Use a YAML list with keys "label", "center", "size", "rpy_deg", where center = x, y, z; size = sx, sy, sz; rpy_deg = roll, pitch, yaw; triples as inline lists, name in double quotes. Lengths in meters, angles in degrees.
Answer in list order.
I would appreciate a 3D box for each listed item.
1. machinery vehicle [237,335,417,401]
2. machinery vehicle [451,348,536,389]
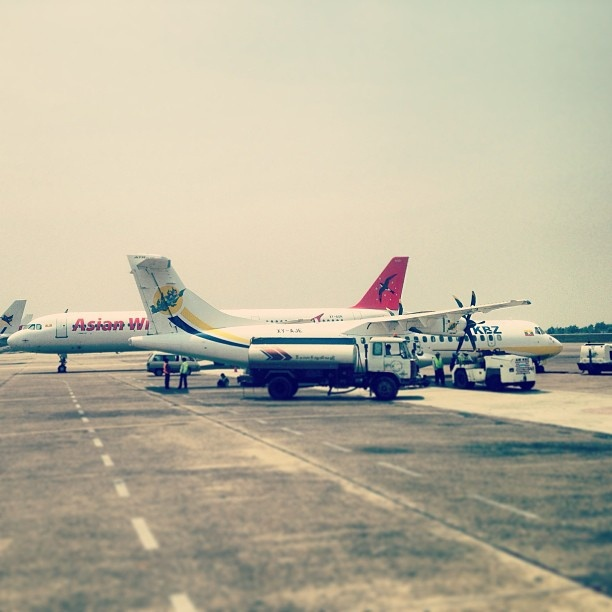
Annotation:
- label: "machinery vehicle"
  center: [1.131, 2.888, 29.260]
  size: [7.433, 2.834, 1.162]
  rpy_deg: [-1, -4, 5]
- label: "machinery vehicle"
  center: [9.373, 3.214, 32.967]
  size: [2.098, 1.622, 3.705]
  rpy_deg: [-4, -1, -34]
